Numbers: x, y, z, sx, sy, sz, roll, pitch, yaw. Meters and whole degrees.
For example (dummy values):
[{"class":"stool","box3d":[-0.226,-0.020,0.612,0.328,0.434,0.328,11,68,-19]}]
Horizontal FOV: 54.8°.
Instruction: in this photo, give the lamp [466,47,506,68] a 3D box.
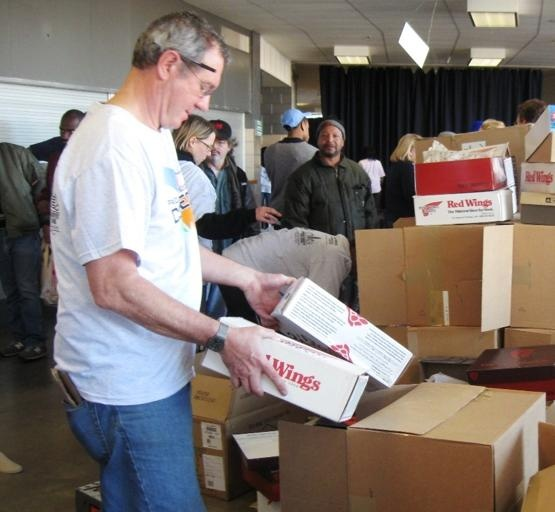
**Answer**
[{"class":"lamp","box3d":[3.260,-3.099,8.324,0.522,0.181,0.802,-2,7,16]}]

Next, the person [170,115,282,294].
[{"class":"person","box3d":[-0.253,-0.219,3.131,0.593,1.156,0.597,16,30,29]}]

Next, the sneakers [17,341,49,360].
[{"class":"sneakers","box3d":[-1.716,0.669,3.775,0.180,0.103,0.140,-8,8,-33]}]

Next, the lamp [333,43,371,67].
[{"class":"lamp","box3d":[1.209,-3.178,8.506,0.531,0.171,0.949,-3,7,12]}]

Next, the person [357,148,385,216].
[{"class":"person","box3d":[1.516,-1.192,8.687,0.389,1.203,0.369,-4,29,3]}]

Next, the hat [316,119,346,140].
[{"class":"hat","box3d":[0.400,-0.941,3.884,0.168,0.209,0.081,5,20,9]}]

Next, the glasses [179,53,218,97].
[{"class":"glasses","box3d":[-0.172,-0.398,1.168,0.069,0.021,0.066,41,0,-5]}]
